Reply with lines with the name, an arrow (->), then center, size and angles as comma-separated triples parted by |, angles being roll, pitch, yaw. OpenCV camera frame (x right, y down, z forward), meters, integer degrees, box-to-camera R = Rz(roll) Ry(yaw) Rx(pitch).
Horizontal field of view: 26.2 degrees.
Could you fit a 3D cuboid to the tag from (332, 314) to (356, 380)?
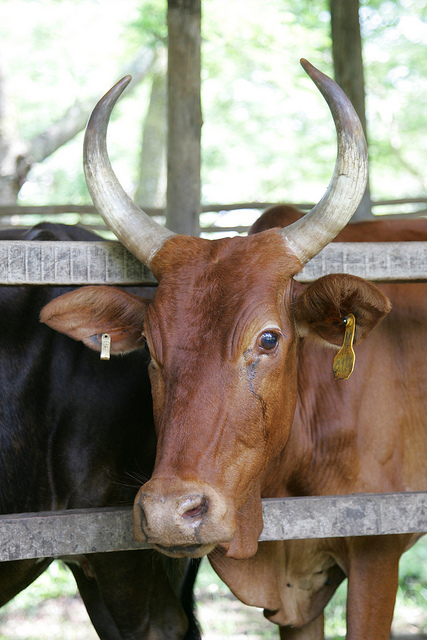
tag -> 0.502, 0.093, 3.457 | 0.054, 0.109, 0.251 | 11, 85, -31
